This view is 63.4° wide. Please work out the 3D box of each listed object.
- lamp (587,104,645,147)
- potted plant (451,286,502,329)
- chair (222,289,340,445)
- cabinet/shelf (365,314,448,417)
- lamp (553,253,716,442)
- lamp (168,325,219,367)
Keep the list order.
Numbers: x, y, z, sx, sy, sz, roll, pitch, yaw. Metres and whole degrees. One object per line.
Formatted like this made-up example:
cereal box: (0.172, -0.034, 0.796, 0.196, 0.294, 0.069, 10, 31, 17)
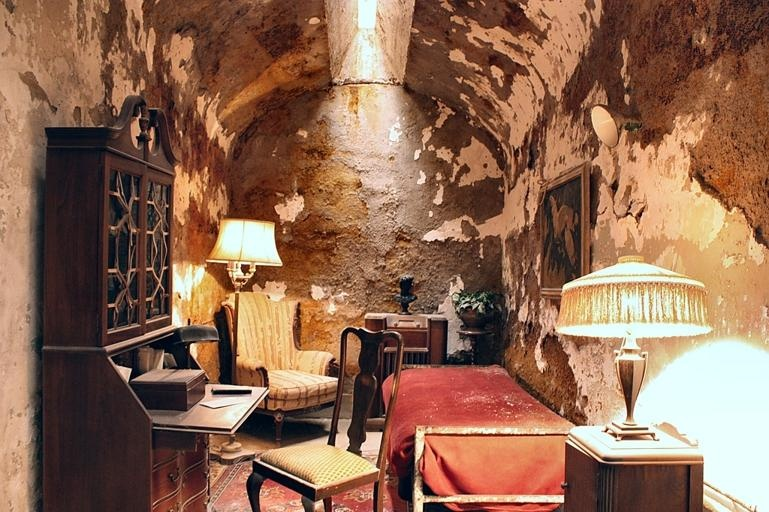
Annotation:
lamp: (1.289, -0.737, 3.491, 0.228, 0.226, 0.222, 1, -4, -5)
potted plant: (0.803, 0.474, 5.720, 0.370, 0.268, 0.366, 7, -10, -43)
chair: (-0.915, 0.916, 5.449, 0.925, 1.235, 0.928, 2, -1, -40)
cabinet/shelf: (0.217, 0.868, 5.928, 0.775, 0.818, 0.558, 1, 17, 5)
lamp: (1.153, 0.425, 3.177, 0.761, 0.864, 0.788, 0, 0, -1)
lamp: (-1.098, 0.551, 3.721, 0.225, 0.331, 0.323, -13, -16, 41)
